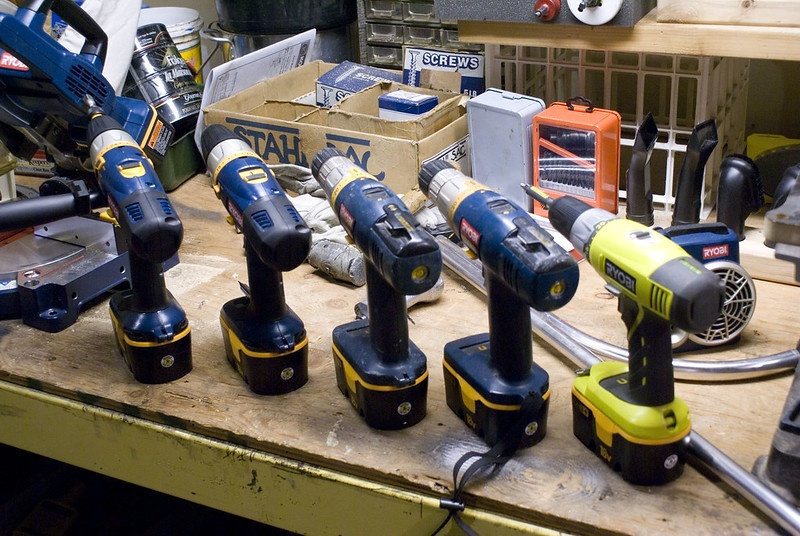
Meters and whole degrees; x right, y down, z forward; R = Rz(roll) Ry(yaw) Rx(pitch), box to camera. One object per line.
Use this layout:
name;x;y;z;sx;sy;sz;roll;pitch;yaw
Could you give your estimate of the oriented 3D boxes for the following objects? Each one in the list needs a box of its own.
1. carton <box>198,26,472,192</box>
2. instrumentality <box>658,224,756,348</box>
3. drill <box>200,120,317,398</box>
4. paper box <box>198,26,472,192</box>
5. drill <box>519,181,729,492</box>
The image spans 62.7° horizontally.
carton;-0.136;-0.310;1.415;0.425;0.132;0.475;16;36;25
instrumentality;0.471;0.030;1.020;0.124;0.183;0.092;-11;17;8
drill;-0.239;-0.016;1.040;0.106;0.306;0.351;-9;31;-27
paper box;-0.130;-0.312;1.418;0.425;0.132;0.475;16;36;25
drill;0.281;0.074;0.912;0.103;0.315;0.363;-10;24;-17
